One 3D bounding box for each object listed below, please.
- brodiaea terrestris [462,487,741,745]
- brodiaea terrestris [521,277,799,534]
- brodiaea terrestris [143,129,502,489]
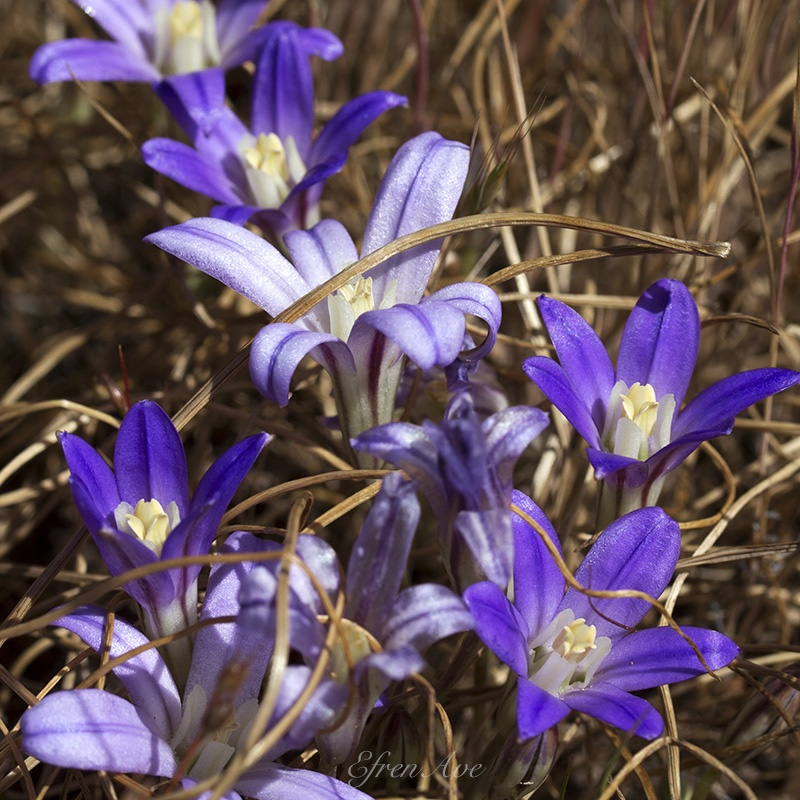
[{"bbox_3d":[0.299,0.405,1.680,0.447,0.235,0.402,26,60,0],"label":"brodiaea terrestris"},{"bbox_3d":[0.465,-0.020,1.940,0.513,0.398,0.517,9,36,2],"label":"brodiaea terrestris"},{"bbox_3d":[-0.084,-0.094,1.806,0.635,0.446,0.653,-5,42,-33],"label":"brodiaea terrestris"}]
